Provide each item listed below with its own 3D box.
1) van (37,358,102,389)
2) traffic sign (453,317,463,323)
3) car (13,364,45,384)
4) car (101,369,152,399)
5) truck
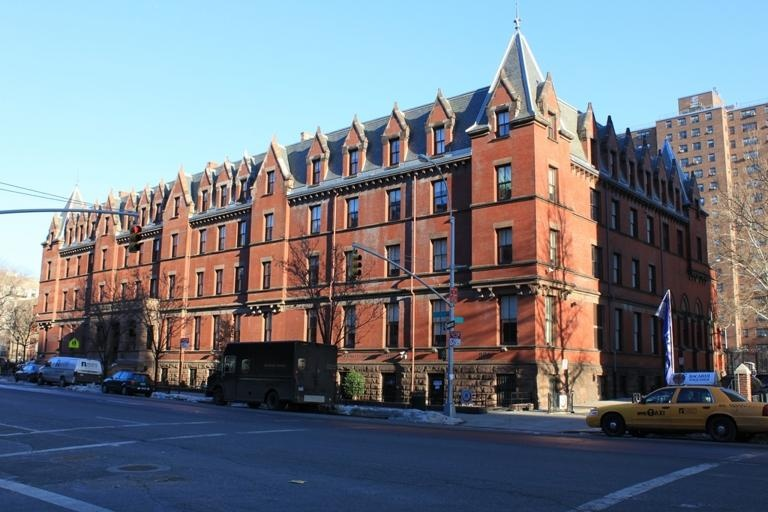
[{"bbox_3d":[-26.667,9.735,68.016,4.469,1.728,2.512,-5,-10,43],"label":"van"},{"bbox_3d":[4.216,3.566,46.432,0.487,0.385,0.393,0,-12,-3],"label":"traffic sign"},{"bbox_3d":[-31.008,10.330,71.388,1.775,1.386,3.848,7,-8,-44],"label":"car"},{"bbox_3d":[-18.807,9.316,59.752,3.206,1.326,1.889,-1,-9,39],"label":"car"},{"bbox_3d":[-7.633,7.506,50.795,8.961,4.099,3.568,-7,-18,24],"label":"truck"}]
